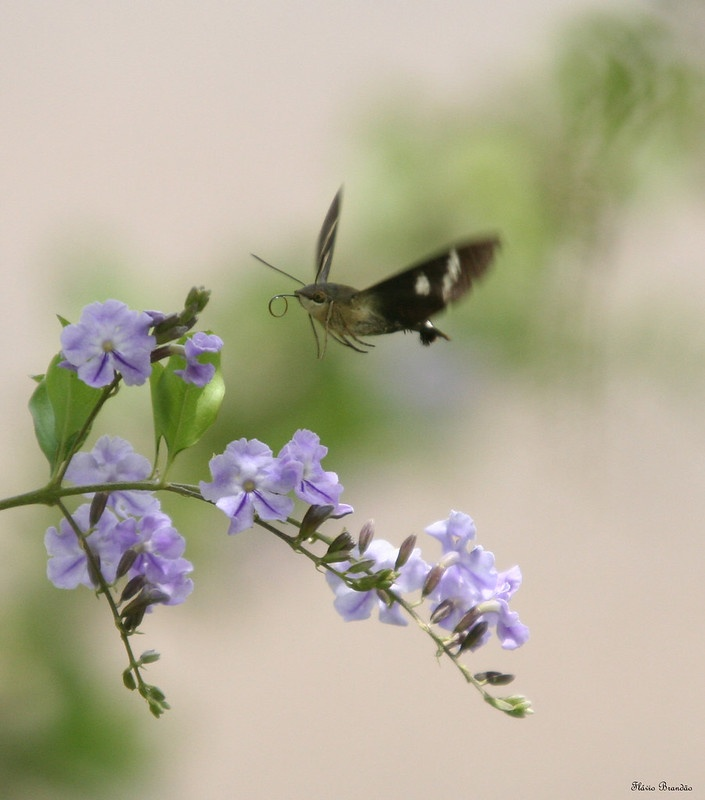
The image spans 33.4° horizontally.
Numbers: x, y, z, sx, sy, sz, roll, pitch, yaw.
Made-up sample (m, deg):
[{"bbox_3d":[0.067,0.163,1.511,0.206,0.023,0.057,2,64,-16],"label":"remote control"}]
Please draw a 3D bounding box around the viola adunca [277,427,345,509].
[{"bbox_3d":[-0.059,0.081,1.447,0.078,0.069,0.095,-13,-79,-39],"label":"viola adunca"}]

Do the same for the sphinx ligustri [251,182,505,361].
[{"bbox_3d":[0.028,-0.159,1.630,0.282,0.310,0.177,-7,-66,-30],"label":"sphinx ligustri"}]
